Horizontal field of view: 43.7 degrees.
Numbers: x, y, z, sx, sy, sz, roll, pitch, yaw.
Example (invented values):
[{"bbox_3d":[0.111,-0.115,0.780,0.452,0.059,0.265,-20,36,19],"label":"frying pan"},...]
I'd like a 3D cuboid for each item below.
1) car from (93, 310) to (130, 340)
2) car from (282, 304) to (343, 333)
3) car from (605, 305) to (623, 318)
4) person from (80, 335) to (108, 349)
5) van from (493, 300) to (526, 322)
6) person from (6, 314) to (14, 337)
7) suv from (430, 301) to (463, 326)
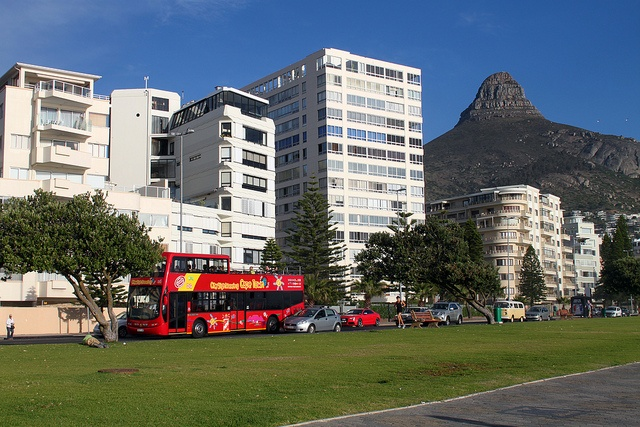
[{"bbox_3d":[-15.139,8.374,60.223,3.471,1.701,1.899,5,-10,-16],"label":"car"},{"bbox_3d":[-0.557,8.404,64.079,3.574,1.483,2.117,10,-13,-43],"label":"car"},{"bbox_3d":[42.915,14.201,116.112,3.135,1.347,1.716,5,-8,-37],"label":"car"},{"bbox_3d":[-13.958,7.972,49.520,1.257,0.493,0.790,18,-12,22],"label":"person"},{"bbox_3d":[19.824,10.110,83.286,1.992,1.565,3.509,-9,-13,43],"label":"van"},{"bbox_3d":[-23.569,8.614,60.633,0.483,1.558,1.154,1,0,-25],"label":"person"},{"bbox_3d":[11.809,9.240,75.366,1.812,1.525,3.024,-8,-17,34],"label":"suv"}]
